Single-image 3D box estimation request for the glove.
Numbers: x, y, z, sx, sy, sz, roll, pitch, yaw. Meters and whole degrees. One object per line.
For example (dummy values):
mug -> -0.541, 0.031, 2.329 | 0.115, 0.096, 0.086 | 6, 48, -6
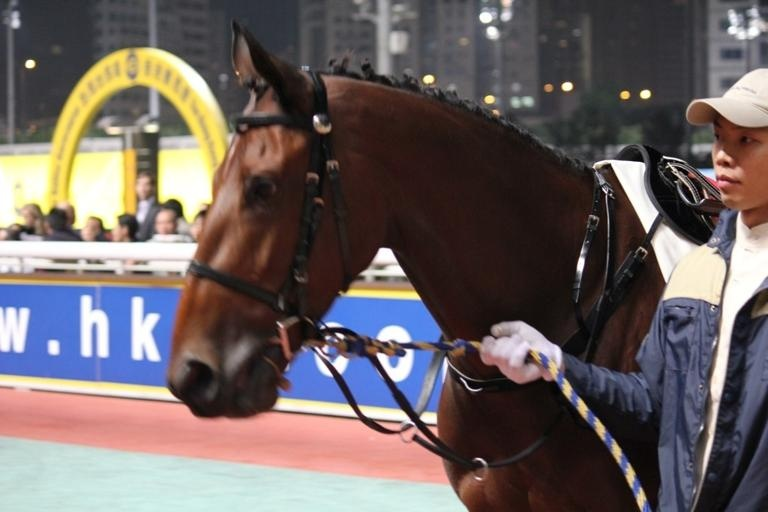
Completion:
glove -> 1.382, 1.041, 14.462 | 0.584, 0.442, 0.330 | 24, -25, 2
